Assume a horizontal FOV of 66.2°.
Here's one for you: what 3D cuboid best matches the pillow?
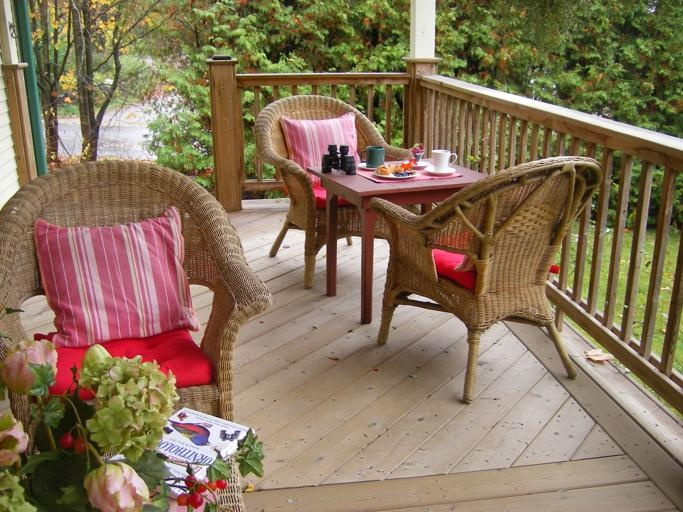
[{"bbox_3d":[-0.800,0.061,1.849,0.563,0.416,0.242,-8,6,-24],"label":"pillow"}]

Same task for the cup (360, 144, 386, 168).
[{"bbox_3d":[0.203,-0.596,3.156,0.167,0.128,0.099,0,16,5],"label":"cup"}]

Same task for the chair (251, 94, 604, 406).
[{"bbox_3d":[0.269,-0.282,3.067,0.915,1.145,2.381,-12,24,-27],"label":"chair"}]
